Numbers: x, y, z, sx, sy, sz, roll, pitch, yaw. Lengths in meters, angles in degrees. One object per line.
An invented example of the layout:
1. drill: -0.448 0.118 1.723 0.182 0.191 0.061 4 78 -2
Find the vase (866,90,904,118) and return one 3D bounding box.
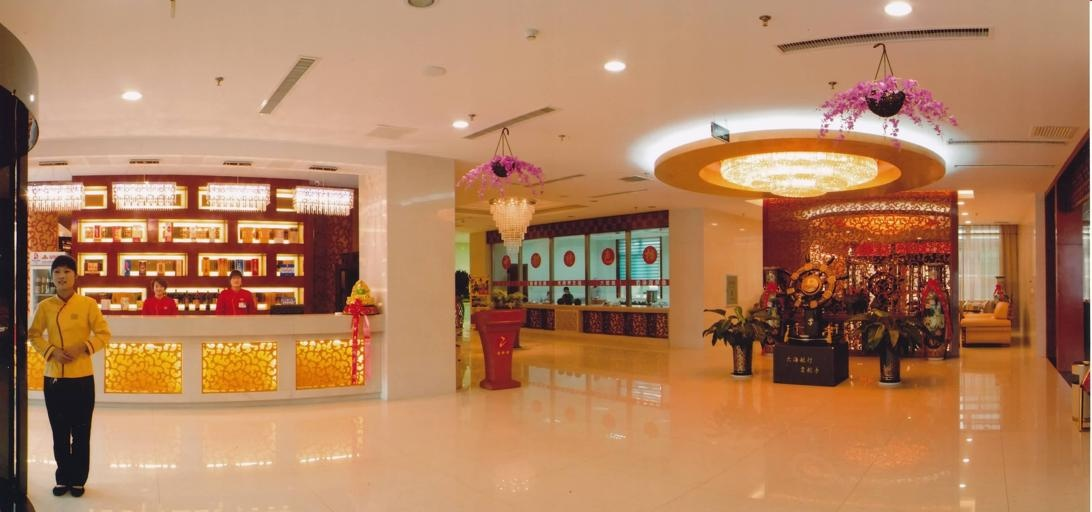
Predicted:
1. vase: 5.254 -2.339 11.247 0.510 0.265 0.447 1 4 5

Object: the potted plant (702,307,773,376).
1. potted plant: 4.569 1.906 16.642 2.074 1.464 1.805 3 -5 -10

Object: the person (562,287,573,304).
1. person: 0.663 1.292 23.252 0.353 0.714 0.250 -26 -42 36

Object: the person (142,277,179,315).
1. person: -7.949 0.838 14.833 0.589 0.716 0.300 0 3 4

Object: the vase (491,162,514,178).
1. vase: -0.830 -1.595 13.385 0.395 0.281 0.264 -1 4 -16

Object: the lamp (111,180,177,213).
1. lamp: -8.407 -1.266 15.356 1.526 0.583 0.309 -2 6 -1

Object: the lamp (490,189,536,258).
1. lamp: -0.679 -0.590 16.127 1.036 0.991 1.038 13 -14 -40

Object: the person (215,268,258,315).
1. person: -6.505 0.764 15.138 0.695 0.892 1.037 -2 4 -24

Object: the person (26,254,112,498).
1. person: -7.406 1.830 11.266 0.947 3.644 0.636 1 4 17

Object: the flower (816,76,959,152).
1. flower: 5.398 -2.501 11.527 1.456 0.559 1.443 0 -2 -5

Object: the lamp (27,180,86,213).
1. lamp: -10.430 -1.272 15.459 1.180 0.602 0.644 -1 3 -9

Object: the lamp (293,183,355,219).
1. lamp: -4.941 -1.155 15.813 1.468 0.542 0.744 1 -5 -23

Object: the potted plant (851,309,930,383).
1. potted plant: 7.164 1.961 15.869 1.991 1.388 1.739 -2 1 -8
